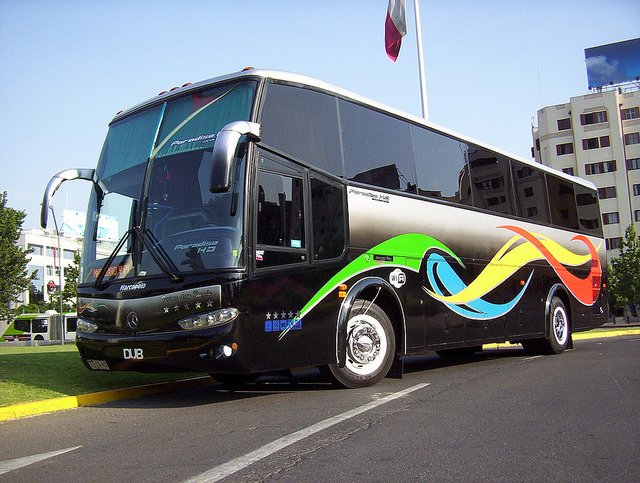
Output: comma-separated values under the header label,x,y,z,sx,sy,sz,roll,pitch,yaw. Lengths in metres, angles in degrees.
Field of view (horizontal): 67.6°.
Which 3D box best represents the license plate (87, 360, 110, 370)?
label,x,y,z,sx,sy,sz,roll,pitch,yaw
license plate,-3.560,1.965,7.652,0.490,0.160,0.146,-7,-9,38
